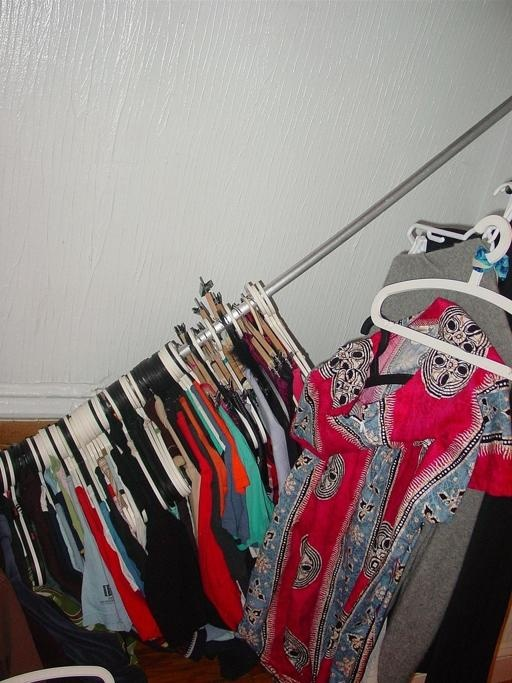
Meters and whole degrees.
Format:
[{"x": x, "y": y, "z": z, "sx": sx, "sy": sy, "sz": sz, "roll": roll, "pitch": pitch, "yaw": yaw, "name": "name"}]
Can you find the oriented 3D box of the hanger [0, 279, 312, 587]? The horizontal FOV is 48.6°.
[{"x": -0.207, "y": 0.209, "z": 1.322, "sx": 0.744, "sy": 0.517, "sz": 0.234, "roll": -30, "pitch": -17, "yaw": 6, "name": "hanger"}]
